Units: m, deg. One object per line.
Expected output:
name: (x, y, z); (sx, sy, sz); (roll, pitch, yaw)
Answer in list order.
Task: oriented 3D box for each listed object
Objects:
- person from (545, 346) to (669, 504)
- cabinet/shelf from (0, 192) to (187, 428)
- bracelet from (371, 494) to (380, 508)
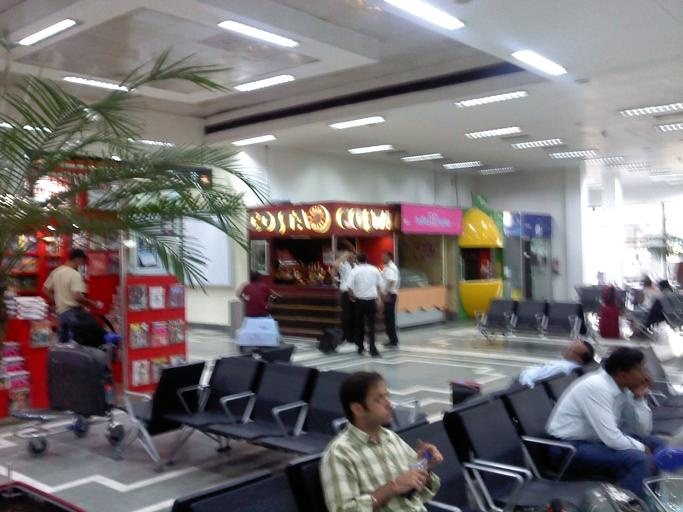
person: (1.883, 1.166, 3.606); (0.697, 1.154, 0.481); (-1, 0, 15)
cabinet/shelf: (-3.607, 0.261, 7.004); (3.217, 3.202, 1.777); (2, 5, 19)
bracelet: (0.153, 1.115, 2.225); (0.043, 0.045, 0.040); (8, 23, 36)
